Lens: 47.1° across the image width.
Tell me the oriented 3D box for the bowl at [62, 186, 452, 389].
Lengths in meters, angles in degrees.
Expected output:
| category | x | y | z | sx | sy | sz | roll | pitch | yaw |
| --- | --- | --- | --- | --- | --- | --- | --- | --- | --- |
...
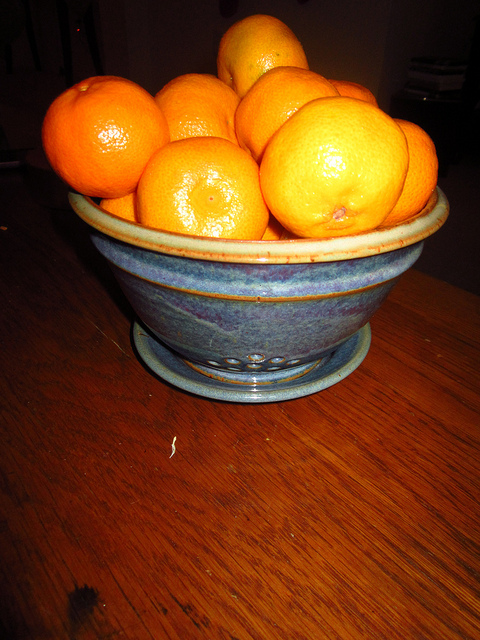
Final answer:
| category | x | y | z | sx | sy | sz | roll | pitch | yaw |
| --- | --- | --- | --- | --- | --- | --- | --- | --- | --- |
| bowl | 0.012 | -0.030 | 0.512 | 0.301 | 0.124 | 0.282 | 3 | 16 | -1 |
